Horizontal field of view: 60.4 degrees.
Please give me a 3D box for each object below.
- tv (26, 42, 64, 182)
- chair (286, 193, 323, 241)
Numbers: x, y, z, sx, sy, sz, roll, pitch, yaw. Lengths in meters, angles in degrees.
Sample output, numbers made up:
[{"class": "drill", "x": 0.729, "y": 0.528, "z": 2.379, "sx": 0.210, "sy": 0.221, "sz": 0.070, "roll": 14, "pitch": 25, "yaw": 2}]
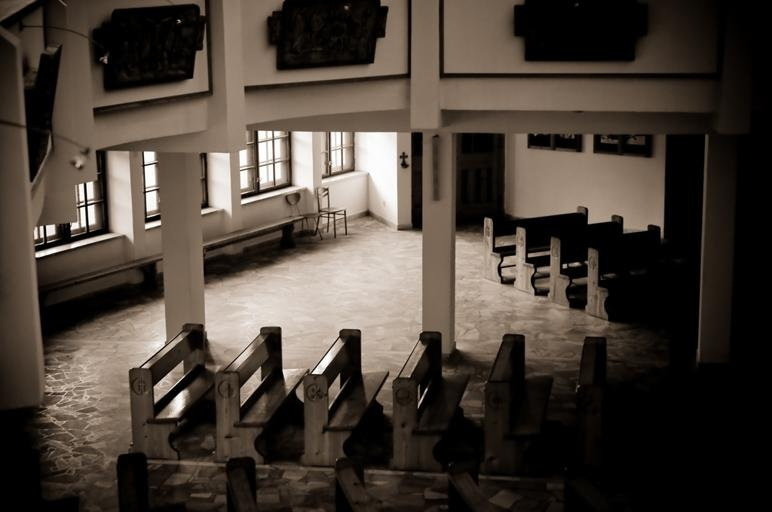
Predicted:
[{"class": "tv", "x": -2.727, "y": -1.121, "z": 5.317, "sx": 0.311, "sy": 1.048, "sz": 0.975, "roll": -5, "pitch": 8, "yaw": -27}, {"class": "chair", "x": -1.942, "y": -0.957, "z": 15.652, "sx": 0.769, "sy": 1.118, "sz": 0.686, "roll": 9, "pitch": 27, "yaw": 25}]
